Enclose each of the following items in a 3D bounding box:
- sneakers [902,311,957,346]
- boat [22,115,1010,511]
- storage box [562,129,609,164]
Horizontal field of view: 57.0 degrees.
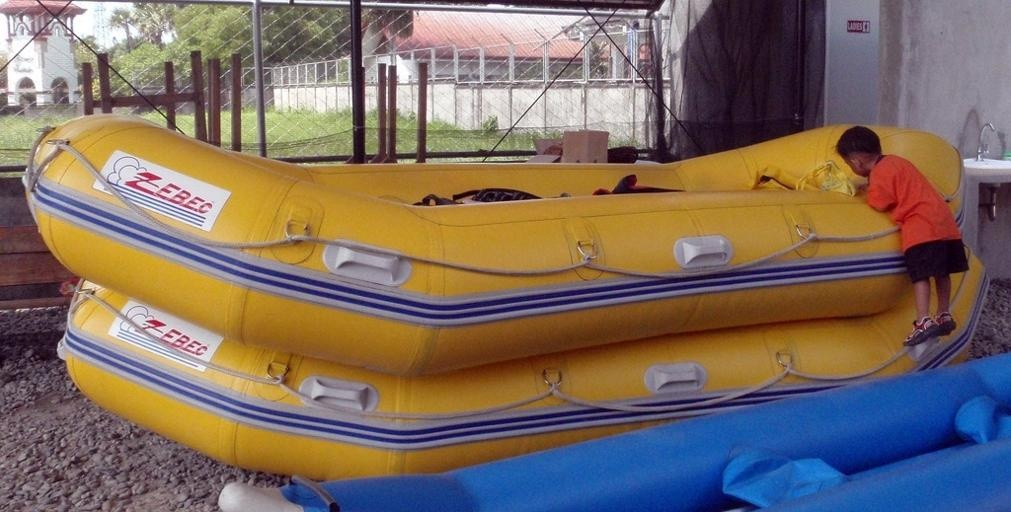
[{"bbox_3d":[3.252,0.553,7.062,0.185,0.193,0.437,-14,-5,-25],"label":"sneakers"},{"bbox_3d":[-0.012,0.349,6.911,5.846,1.616,3.279,-5,11,-19],"label":"boat"},{"bbox_3d":[0.738,-0.976,8.562,0.364,0.329,0.347,1,12,0],"label":"storage box"}]
